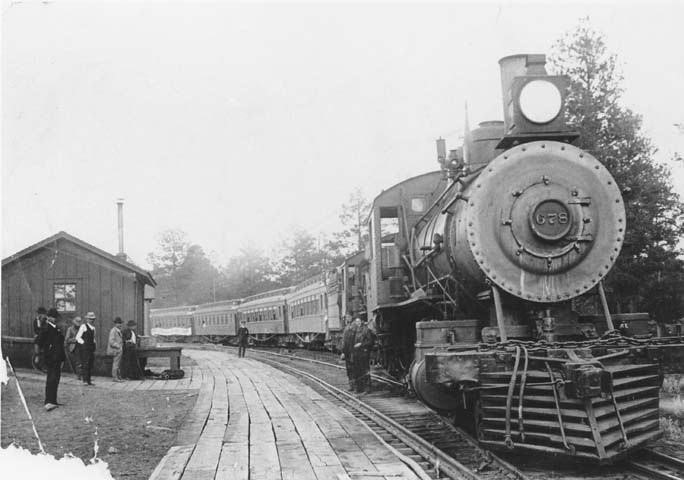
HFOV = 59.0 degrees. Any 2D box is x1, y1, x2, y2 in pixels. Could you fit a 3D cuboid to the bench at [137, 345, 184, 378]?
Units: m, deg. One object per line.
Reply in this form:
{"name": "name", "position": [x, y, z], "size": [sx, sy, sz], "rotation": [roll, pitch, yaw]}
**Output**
{"name": "bench", "position": [-5.428, 3.637, 18.706], "size": [0.984, 0.687, 1.058], "rotation": [0, -2, -6]}

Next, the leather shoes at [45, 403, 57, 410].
{"name": "leather shoes", "position": [-5.666, 3.239, 11.747], "size": [0.134, 0.106, 0.127], "rotation": [-2, -2, -15]}

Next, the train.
{"name": "train", "position": [2.009, 1.301, 15.848], "size": [3.832, 4.510, 16.875], "rotation": [0, -6, -11]}

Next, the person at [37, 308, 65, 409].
{"name": "person", "position": [-5.910, 2.381, 12.321], "size": [0.454, 2.039, 1.160], "rotation": [2, -9, -29]}
